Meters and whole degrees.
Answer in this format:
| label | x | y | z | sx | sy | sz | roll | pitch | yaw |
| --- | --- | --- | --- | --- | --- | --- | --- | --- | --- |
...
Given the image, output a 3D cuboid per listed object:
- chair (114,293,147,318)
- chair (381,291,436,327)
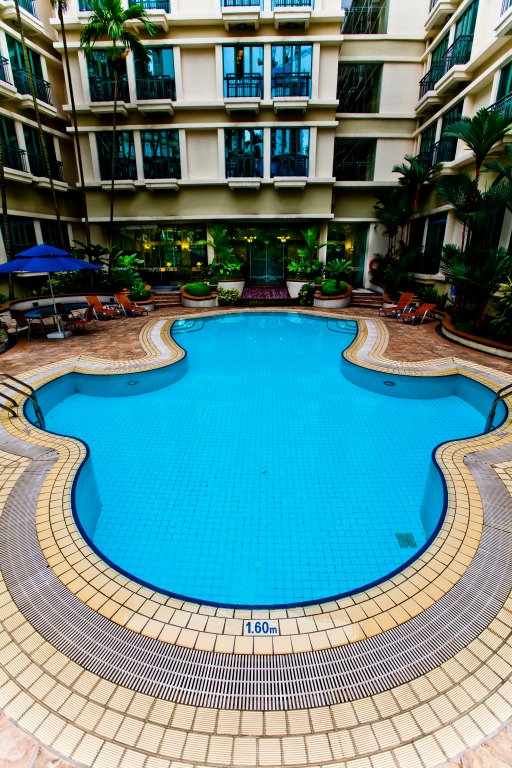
| label | x | y | z | sx | sy | sz | roll | pitch | yaw |
| --- | --- | --- | --- | --- | --- | --- | --- | --- | --- |
| chair | -4.830 | -3.126 | 16.079 | 1.313 | 0.847 | 0.850 | 30 | 37 | 29 |
| chair | 5.638 | -2.672 | 15.166 | 1.197 | 0.896 | 1.974 | 19 | 27 | 32 |
